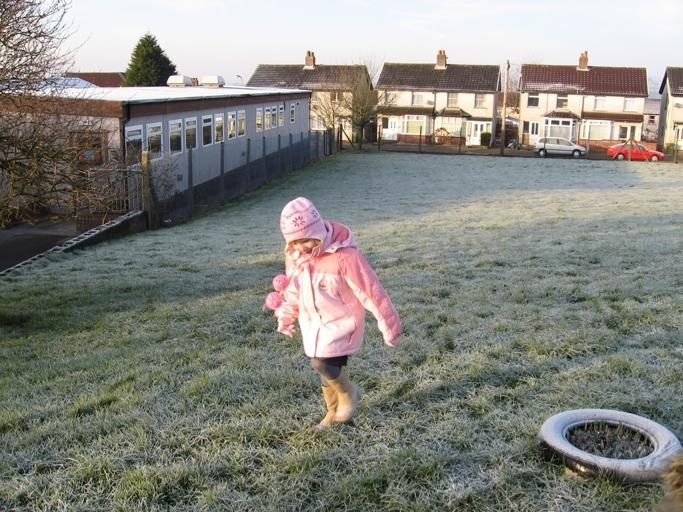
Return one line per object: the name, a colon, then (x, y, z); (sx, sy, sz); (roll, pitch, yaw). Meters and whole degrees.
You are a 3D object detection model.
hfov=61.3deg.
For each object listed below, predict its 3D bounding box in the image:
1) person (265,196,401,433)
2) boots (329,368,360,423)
person: (-0.054, 0.421, 4.565); (1.036, 1.790, 0.459); (0, 10, 12)
boots: (-0.013, 1.107, 4.631); (0.173, 0.329, 0.423); (-8, 22, 11)
